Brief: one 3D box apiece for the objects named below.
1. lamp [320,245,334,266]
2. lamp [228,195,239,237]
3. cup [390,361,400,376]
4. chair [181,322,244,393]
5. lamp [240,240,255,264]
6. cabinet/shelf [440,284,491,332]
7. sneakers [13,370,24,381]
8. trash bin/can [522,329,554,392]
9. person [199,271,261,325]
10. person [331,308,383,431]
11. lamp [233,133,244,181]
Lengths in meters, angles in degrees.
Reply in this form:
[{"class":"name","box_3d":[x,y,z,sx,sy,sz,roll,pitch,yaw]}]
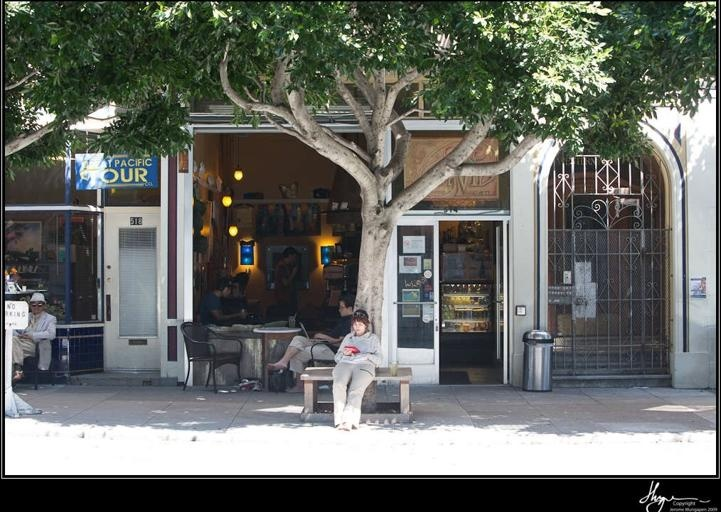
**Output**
[{"class":"lamp","box_3d":[-0.731,-0.009,17.176,0.299,0.394,0.211,0,9,1]},{"class":"lamp","box_3d":[-2.755,-0.815,17.064,0.237,0.851,0.637,-1,10,-9]},{"class":"cup","box_3d":[0.509,1.696,11.900,0.157,0.248,0.159,3,-3,0]},{"class":"chair","box_3d":[-2.576,1.709,13.728,1.217,1.094,1.230,0,-3,-17]},{"class":"lamp","box_3d":[-2.469,-0.069,17.222,0.429,0.624,0.438,1,-12,-4]},{"class":"cabinet/shelf","box_3d":[2.118,1.099,16.319,0.903,0.882,0.447,0,-6,-1]},{"class":"sneakers","box_3d":[-6.058,2.134,14.022,0.174,0.254,0.349,-4,10,-23]},{"class":"trash bin/can","box_3d":[3.068,1.806,13.751,0.509,1.043,0.319,2,10,12]},{"class":"person","box_3d":[-2.543,0.825,14.801,0.916,1.522,0.645,-2,10,-23]},{"class":"person","box_3d":[-0.118,1.613,11.531,0.635,1.562,0.984,4,10,20]},{"class":"lamp","box_3d":[-2.592,-2.054,16.743,0.227,0.924,0.766,-1,9,-9]}]
